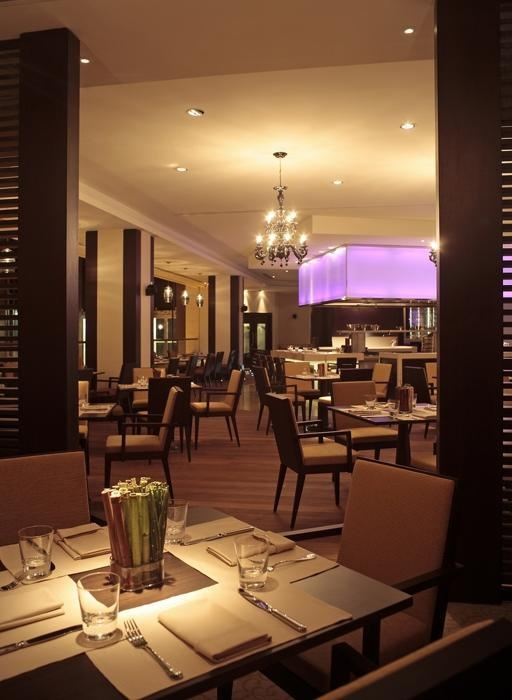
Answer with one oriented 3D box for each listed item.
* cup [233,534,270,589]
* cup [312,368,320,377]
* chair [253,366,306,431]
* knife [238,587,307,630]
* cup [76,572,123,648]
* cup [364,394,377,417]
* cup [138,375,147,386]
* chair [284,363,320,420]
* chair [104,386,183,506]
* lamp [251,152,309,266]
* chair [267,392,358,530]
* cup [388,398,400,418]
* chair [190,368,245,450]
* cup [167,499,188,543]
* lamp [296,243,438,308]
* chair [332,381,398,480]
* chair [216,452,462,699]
[{"bbox_3d":[-0.011,0.476,1.251,0.097,0.127,0.112,0,15,-5],"label":"cup"},{"bbox_3d":[0.879,0.329,8.013,0.077,0.115,0.078,1,3,0],"label":"cup"},{"bbox_3d":[0.346,0.611,7.201,0.662,0.915,0.681,-2,3,-16],"label":"chair"},{"bbox_3d":[0.030,0.503,1.089,0.039,0.021,0.231,-4,0,-20],"label":"knife"},{"bbox_3d":[-0.288,0.471,1.005,0.075,0.123,0.073,-1,2,0],"label":"cup"},{"bbox_3d":[0.880,0.426,4.190,0.111,0.188,0.102,-1,3,0],"label":"cup"},{"bbox_3d":[-1.418,0.383,6.782,0.106,0.084,0.112,3,8,0],"label":"cup"},{"bbox_3d":[0.616,0.602,7.973,0.382,0.813,0.471,-1,12,11],"label":"chair"},{"bbox_3d":[-0.905,0.696,4.274,0.565,0.835,0.564,2,1,-18],"label":"chair"},{"bbox_3d":[0.330,-1.861,7.209,0.637,1.504,0.659,-3,8,-7],"label":"lamp"},{"bbox_3d":[0.343,0.674,4.026,0.724,1.236,0.778,-1,3,-12],"label":"chair"},{"bbox_3d":[1.047,0.445,4.168,0.105,0.135,0.117,1,-4,-21],"label":"cup"},{"bbox_3d":[-0.491,0.641,6.371,0.614,0.899,0.633,2,1,3],"label":"chair"},{"bbox_3d":[-0.196,0.476,1.510,0.081,0.101,0.091,1,-3,-1],"label":"cup"},{"bbox_3d":[1.860,-1.429,10.277,1.571,1.084,2.657,-1,1,-42],"label":"lamp"},{"bbox_3d":[0.901,0.670,4.552,0.452,0.826,0.500,-1,0,-21],"label":"chair"},{"bbox_3d":[0.221,0.610,1.705,0.530,0.882,0.535,6,-6,-32],"label":"chair"}]
